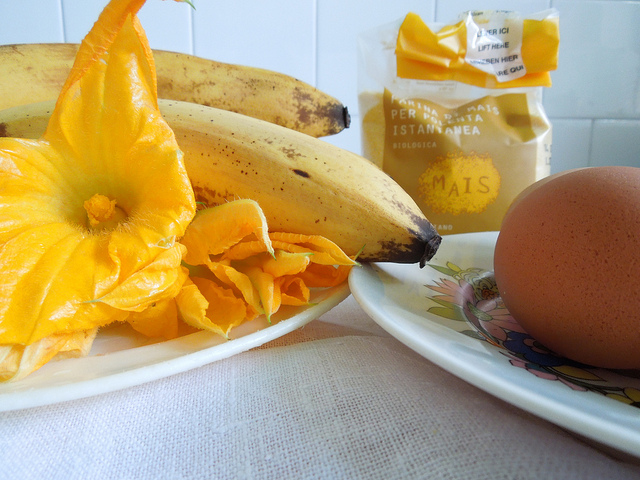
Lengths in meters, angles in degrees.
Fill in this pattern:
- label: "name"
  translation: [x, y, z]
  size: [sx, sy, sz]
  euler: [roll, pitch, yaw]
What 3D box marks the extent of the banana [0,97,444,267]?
- label: "banana"
  translation: [-0.091, -0.049, 0.431]
  size: [0.351, 0.079, 0.095]
  euler: [17, 15, 6]
